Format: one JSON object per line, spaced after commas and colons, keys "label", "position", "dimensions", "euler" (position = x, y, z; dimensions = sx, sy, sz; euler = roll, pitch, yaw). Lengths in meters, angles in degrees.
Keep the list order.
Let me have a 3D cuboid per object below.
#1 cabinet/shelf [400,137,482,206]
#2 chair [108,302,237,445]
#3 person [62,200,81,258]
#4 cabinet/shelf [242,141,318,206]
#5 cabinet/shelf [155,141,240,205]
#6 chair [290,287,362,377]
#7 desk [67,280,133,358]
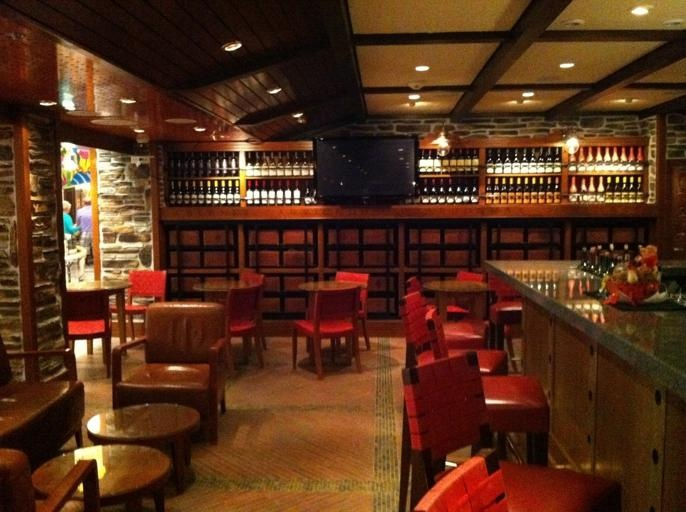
{"label": "cabinet/shelf", "position": [1.458, -1.288, 8.232], "dimensions": [1.069, 0.894, 0.330], "euler": [0, 8, 3]}
{"label": "chair", "position": [-1.400, 0.881, 4.647], "dimensions": [0.932, 1.027, 1.148], "euler": [0, -2, 0]}
{"label": "person", "position": [-4.489, -0.502, 9.201], "dimensions": [0.232, 0.839, 0.953], "euler": [-4, 8, -25]}
{"label": "cabinet/shelf", "position": [-0.970, -1.271, 8.340], "dimensions": [1.022, 0.849, 0.323], "euler": [-1, -1, 1]}
{"label": "cabinet/shelf", "position": [-2.207, -1.281, 8.343], "dimensions": [0.953, 0.796, 0.301], "euler": [0, 1, -1]}
{"label": "chair", "position": [-0.183, 0.806, 6.215], "dimensions": [0.656, 0.973, 0.583], "euler": [-5, 9, -31]}
{"label": "desk", "position": [-3.025, 0.772, 6.731], "dimensions": [0.997, 0.706, 0.942], "euler": [-11, 3, -26]}
